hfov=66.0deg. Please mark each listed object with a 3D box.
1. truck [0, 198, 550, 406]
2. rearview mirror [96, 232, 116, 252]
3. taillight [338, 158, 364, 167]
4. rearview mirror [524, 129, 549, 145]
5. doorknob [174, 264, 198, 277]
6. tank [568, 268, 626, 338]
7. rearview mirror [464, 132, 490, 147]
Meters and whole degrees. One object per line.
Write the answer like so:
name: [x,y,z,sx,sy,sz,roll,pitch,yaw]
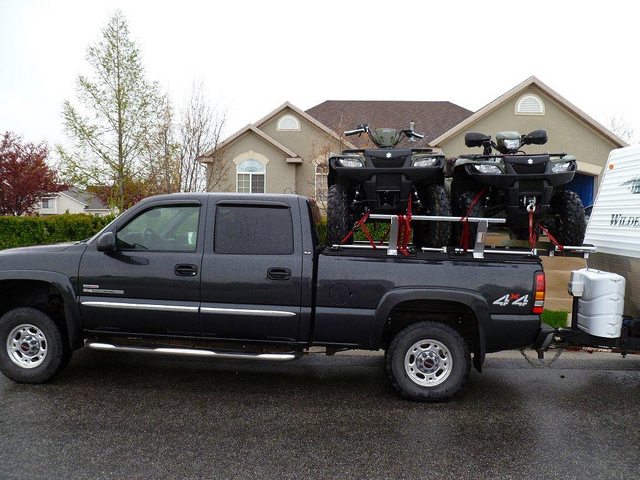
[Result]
truck: [-0.555,0.632,6.890,6.696,2.431,2.718,3,0,2]
rearview mirror: [-2.520,0.029,5.808,0.168,0.252,0.230,-1,-8,17]
taillight: [0.393,-0.950,6.110,0.226,0.058,0.129,4,3,-2]
rearview mirror: [2.883,-1.359,6.547,0.206,0.152,0.280,2,-6,-38]
doorknob: [-1.599,0.362,5.831,0.200,0.070,0.152,4,44,-5]
tank: [3.420,0.787,6.125,0.622,0.796,0.779,5,-3,-6]
rearview mirror: [2.169,-1.367,6.775,0.298,0.153,0.224,1,22,-3]
